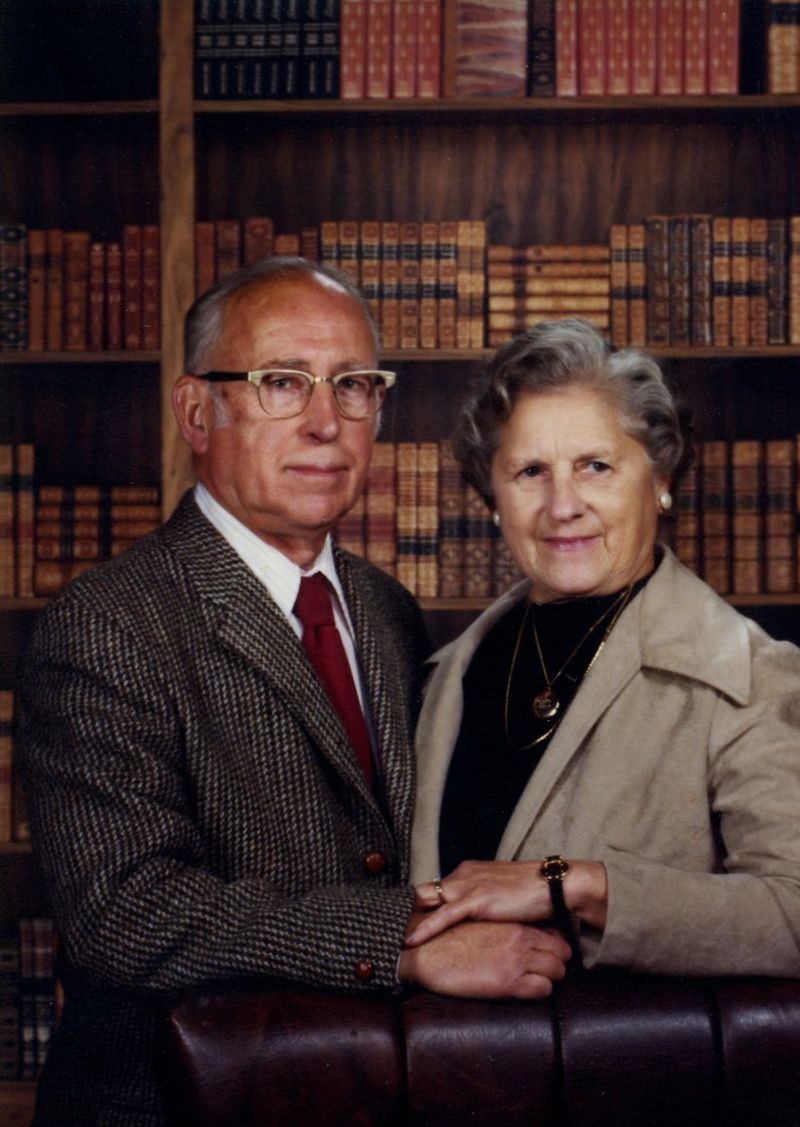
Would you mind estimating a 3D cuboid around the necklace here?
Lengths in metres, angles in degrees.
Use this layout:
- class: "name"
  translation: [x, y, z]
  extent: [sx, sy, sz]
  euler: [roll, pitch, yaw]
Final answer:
- class: "necklace"
  translation: [0.240, 0.160, 1.828]
  extent: [0.051, 0.236, 0.143]
  euler: [22, -15, -38]

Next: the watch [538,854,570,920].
- class: "watch"
  translation: [0.171, 0.369, 1.455]
  extent: [0.040, 0.054, 0.062]
  euler: [-9, 15, 2]

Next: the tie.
- class: "tie"
  translation: [-0.092, 0.169, 1.798]
  extent: [0.079, 0.369, 0.044]
  euler: [-4, -46, -11]

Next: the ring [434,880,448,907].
- class: "ring"
  translation: [0.048, 0.386, 1.509]
  extent: [0.022, 0.017, 0.016]
  euler: [-2, 2, 0]
